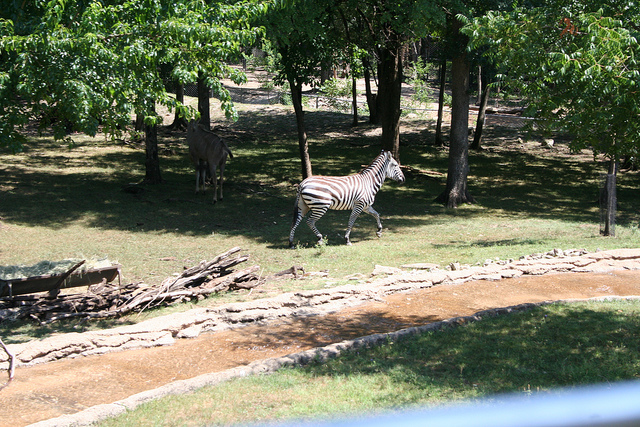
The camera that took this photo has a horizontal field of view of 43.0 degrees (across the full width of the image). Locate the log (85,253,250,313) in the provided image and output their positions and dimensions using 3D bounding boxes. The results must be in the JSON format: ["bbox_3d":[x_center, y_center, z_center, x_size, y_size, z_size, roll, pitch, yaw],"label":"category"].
[{"bbox_3d":[-4.073,1.904,21.783,3.668,0.327,0.588,-17,41,-33],"label":"log"}]

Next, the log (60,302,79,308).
[{"bbox_3d":[-6.411,2.311,20.648,0.388,0.091,0.076,-4,9,-27],"label":"log"}]

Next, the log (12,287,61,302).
[{"bbox_3d":[-7.298,2.108,20.764,1.760,0.257,0.212,-2,12,-13],"label":"log"}]

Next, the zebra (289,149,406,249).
[{"bbox_3d":[0.911,-0.412,26.414,4.517,2.616,1.235,-6,9,-24],"label":"zebra"}]
